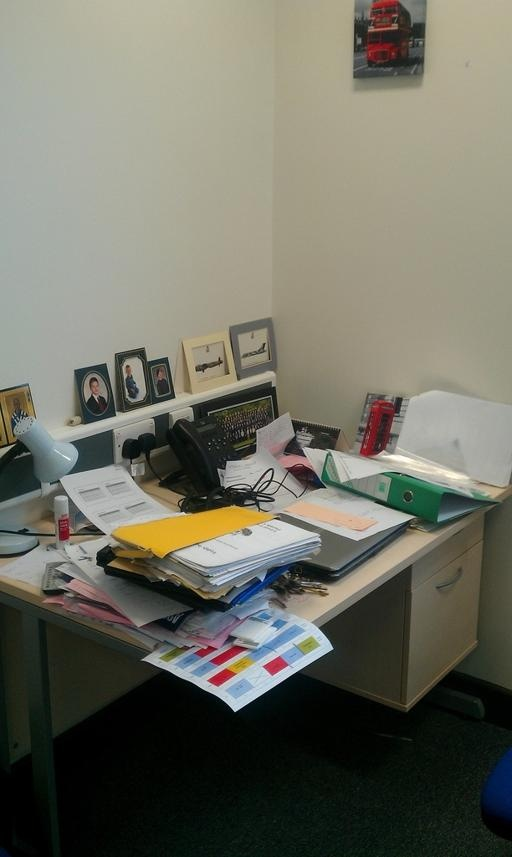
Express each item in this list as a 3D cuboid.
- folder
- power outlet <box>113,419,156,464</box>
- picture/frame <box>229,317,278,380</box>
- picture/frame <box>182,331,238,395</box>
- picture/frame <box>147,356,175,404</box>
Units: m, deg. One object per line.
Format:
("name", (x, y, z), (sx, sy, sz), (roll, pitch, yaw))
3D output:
("folder", (0.371, 0.120, 1.497), (0.318, 0.074, 0.309), (18, 15, 40))
("power outlet", (-0.295, 0.029, 1.498), (0.012, 0.062, 0.096), (7, 14, 28))
("picture/frame", (-0.013, -0.246, 1.914), (0.011, 0.154, 0.168), (2, 17, 33))
("picture/frame", (-0.129, -0.189, 1.769), (0.039, 0.162, 0.216), (5, 10, 29))
("picture/frame", (-0.246, -0.124, 1.611), (0.011, 0.119, 0.099), (-2, 12, 25))
